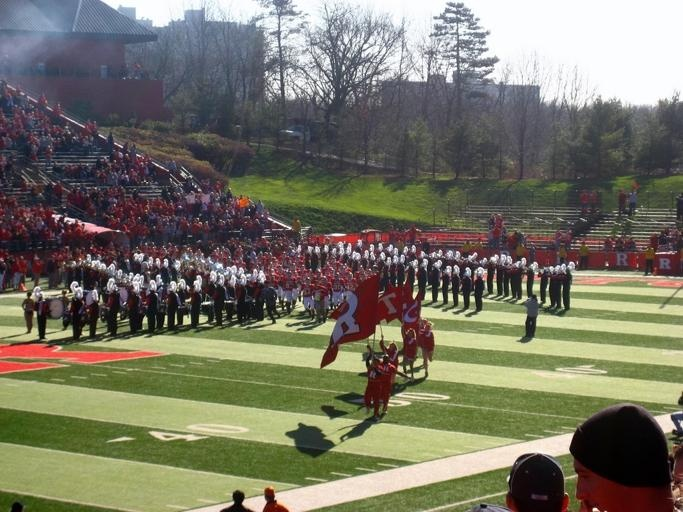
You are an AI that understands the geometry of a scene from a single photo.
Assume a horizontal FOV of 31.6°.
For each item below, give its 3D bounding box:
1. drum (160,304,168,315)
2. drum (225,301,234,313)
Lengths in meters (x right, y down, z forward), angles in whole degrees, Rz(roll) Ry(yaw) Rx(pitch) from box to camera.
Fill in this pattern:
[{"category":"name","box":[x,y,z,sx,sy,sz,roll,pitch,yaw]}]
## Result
[{"category":"drum","box":[-7.885,2.345,53.359,0.392,0.518,0.405,1,1,0]},{"category":"drum","box":[-5.095,2.338,55.263,0.381,0.550,0.137,13,9,38]}]
